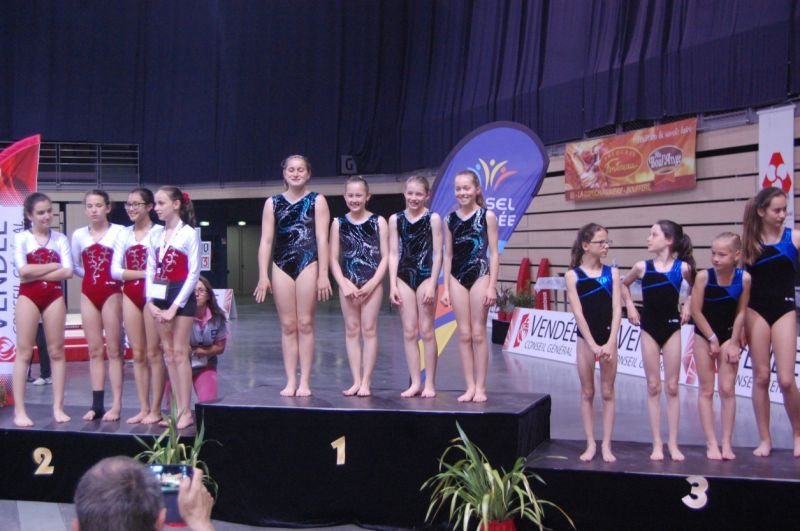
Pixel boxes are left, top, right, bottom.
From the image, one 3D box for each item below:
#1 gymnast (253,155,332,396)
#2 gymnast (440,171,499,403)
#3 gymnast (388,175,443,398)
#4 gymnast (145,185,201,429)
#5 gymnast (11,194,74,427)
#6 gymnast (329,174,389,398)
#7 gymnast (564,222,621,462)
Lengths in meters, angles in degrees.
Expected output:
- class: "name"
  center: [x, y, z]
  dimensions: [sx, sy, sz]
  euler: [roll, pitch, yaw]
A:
- class: "gymnast"
  center: [-1.005, 0.104, 7.355]
  dimensions: [0.686, 2.287, 0.342]
  euler: [2, -3, -6]
- class: "gymnast"
  center: [0.660, 0.191, 7.244]
  dimensions: [0.489, 2.172, 0.243]
  euler: [2, -3, 3]
- class: "gymnast"
  center: [0.135, 0.197, 7.333]
  dimensions: [0.527, 2.115, 0.320]
  euler: [2, -3, -1]
- class: "gymnast"
  center: [-2.183, 0.389, 7.307]
  dimensions: [0.467, 2.290, 0.275]
  euler: [3, -3, -19]
- class: "gymnast"
  center: [-3.505, 0.416, 7.500]
  dimensions: [0.621, 2.275, 0.424]
  euler: [3, -3, -17]
- class: "gymnast"
  center: [-0.409, 0.290, 7.391]
  dimensions: [0.565, 1.920, 0.325]
  euler: [2, -3, -4]
- class: "gymnast"
  center: [1.750, 0.675, 6.960]
  dimensions: [0.486, 2.151, 0.363]
  euler: [1, -3, 16]
